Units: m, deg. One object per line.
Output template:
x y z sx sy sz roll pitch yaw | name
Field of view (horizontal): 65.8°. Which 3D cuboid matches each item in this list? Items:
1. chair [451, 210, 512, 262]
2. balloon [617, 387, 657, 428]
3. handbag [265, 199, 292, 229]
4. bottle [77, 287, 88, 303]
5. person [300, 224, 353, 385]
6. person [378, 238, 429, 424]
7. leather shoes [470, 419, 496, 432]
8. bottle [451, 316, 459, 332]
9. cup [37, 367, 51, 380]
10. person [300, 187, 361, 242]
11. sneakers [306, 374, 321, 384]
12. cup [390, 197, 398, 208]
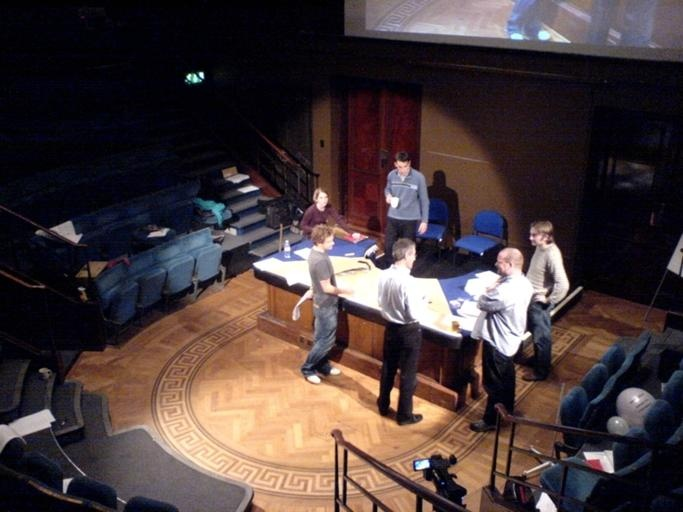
2.201 -0.182 8.439 0.821 0.934 0.812 2 24 12 | chair
2.723 1.402 4.880 0.238 0.287 0.303 -16 14 0 | balloon
-1.159 -0.752 9.733 0.454 0.434 0.245 -22 33 -40 | handbag
-3.403 0.509 6.926 0.112 0.165 0.111 4 27 -2 | bottle
-0.209 0.576 6.212 0.539 2.018 0.425 -1 23 -5 | person
0.651 0.834 5.622 0.347 2.085 0.541 -19 30 -39 | person
1.541 1.854 5.764 0.286 0.124 0.119 1 49 2 | leather shoes
1.252 0.746 5.711 0.102 0.114 0.103 -3 7 13 | bottle
-3.472 1.382 6.203 0.096 0.102 0.146 0 -4 24 | cup
-0.127 -0.690 8.669 0.793 1.147 0.596 20 44 30 | person
-0.340 1.476 6.481 0.175 0.065 0.094 19 32 40 | sneakers
0.749 -0.795 7.879 0.147 0.136 0.099 11 17 37 | cup
